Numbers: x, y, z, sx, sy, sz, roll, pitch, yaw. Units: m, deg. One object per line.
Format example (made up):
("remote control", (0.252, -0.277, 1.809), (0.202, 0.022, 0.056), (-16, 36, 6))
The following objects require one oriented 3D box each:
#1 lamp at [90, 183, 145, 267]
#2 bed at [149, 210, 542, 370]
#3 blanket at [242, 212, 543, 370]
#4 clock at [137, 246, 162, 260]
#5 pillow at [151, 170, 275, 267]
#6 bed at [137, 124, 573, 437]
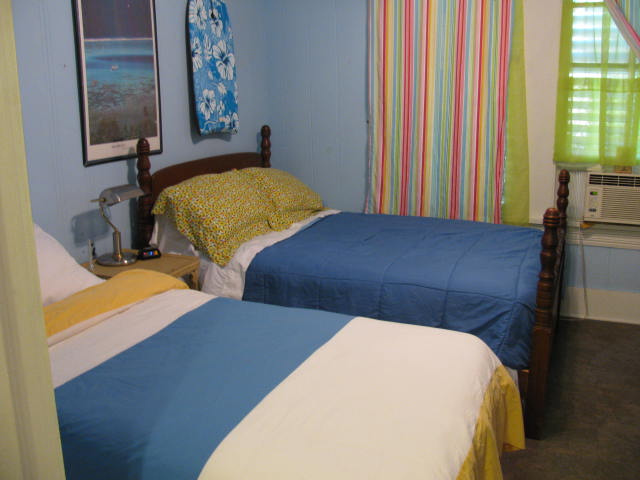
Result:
("lamp", (-1.120, -0.071, 2.824), (0.224, 0.431, 0.239), (2, 16, 5))
("bed", (0.309, 0.152, 2.962), (1.627, 0.577, 1.152), (7, 23, 18))
("blanket", (0.451, 0.212, 2.799), (1.001, 0.276, 1.076), (6, 17, 21))
("clock", (-0.979, 0.080, 2.944), (0.074, 0.044, 0.077), (-5, 13, -27))
("pillow", (-0.577, -0.173, 2.986), (0.756, 0.187, 0.775), (7, -31, -31))
("bed", (0.202, 0.000, 3.216), (2.121, 1.326, 1.731), (7, 25, 18))
